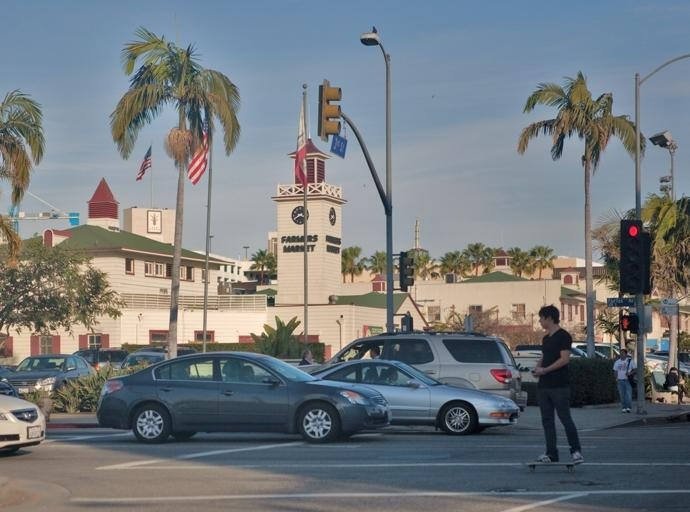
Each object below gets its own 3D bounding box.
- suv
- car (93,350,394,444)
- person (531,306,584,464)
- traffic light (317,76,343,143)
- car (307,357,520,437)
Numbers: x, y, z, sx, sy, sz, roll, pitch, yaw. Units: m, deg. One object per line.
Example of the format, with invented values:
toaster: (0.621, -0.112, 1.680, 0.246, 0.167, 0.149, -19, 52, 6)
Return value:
suv: (2.850, 3.330, 48.964, 5.148, 2.370, 2.608, 1, -5, 11)
car: (-2.737, 4.019, 45.375, 7.368, 2.641, 3.233, -3, -5, 8)
person: (5.370, 3.203, 40.519, 1.279, 4.077, 1.033, -4, -5, 40)
traffic light: (-0.503, -4.472, 48.583, 0.585, 1.830, 0.813, 2, 6, 9)
car: (2.081, 4.139, 46.879, 5.274, 1.922, 2.506, 0, -2, 6)
